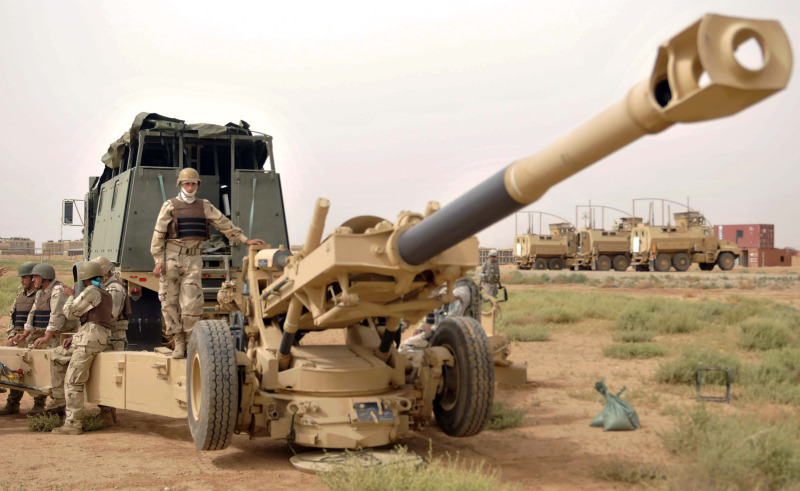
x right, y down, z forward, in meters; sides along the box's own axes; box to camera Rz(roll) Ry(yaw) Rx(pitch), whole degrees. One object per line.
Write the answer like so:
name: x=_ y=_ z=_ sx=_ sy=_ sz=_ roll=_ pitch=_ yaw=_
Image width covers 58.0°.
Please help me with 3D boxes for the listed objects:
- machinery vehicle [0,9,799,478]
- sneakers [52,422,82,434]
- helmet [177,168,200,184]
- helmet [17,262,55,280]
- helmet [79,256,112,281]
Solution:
machinery vehicle: x=-2.042 y=0.713 z=12.497 sx=7.078 sy=3.940 sz=9.124 roll=-1 pitch=1 yaw=-39
sneakers: x=-5.925 y=3.216 z=12.819 sx=0.423 sy=0.174 sz=0.199 roll=6 pitch=-9 yaw=4
helmet: x=-3.823 y=-1.245 z=13.041 sx=0.288 sy=0.221 sz=0.412 roll=0 pitch=8 yaw=-12
helmet: x=-7.516 y=0.513 z=14.861 sx=0.618 sy=0.331 sz=0.417 roll=-5 pitch=5 yaw=-20
helmet: x=-5.752 y=0.441 z=13.637 sx=0.432 sy=0.245 sz=0.609 roll=-4 pitch=1 yaw=-23
